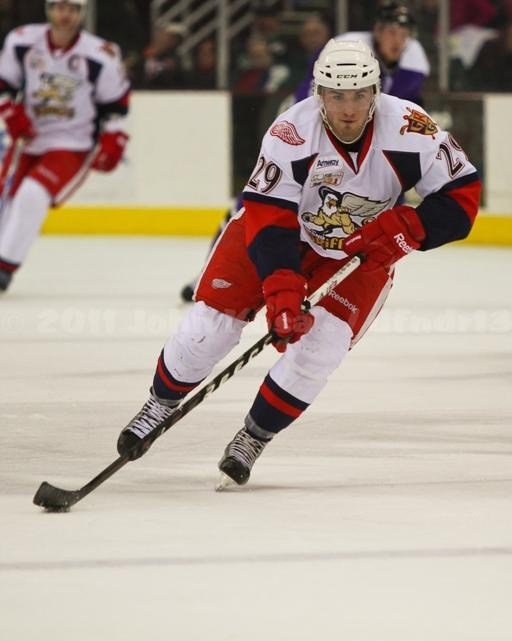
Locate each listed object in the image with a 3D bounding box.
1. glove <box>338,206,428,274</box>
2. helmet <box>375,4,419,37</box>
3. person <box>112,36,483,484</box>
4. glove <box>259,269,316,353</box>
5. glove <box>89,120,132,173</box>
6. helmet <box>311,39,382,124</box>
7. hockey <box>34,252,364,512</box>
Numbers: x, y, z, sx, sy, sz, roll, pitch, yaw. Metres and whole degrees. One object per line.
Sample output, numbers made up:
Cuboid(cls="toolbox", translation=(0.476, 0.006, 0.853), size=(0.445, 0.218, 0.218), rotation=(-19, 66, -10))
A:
Cuboid(cls="glove", translation=(0.242, -0.192, 1.820), size=(0.240, 0.100, 0.328), rotation=(-3, 15, 18))
Cuboid(cls="helmet", translation=(0.658, -1.417, 3.614), size=(0.178, 0.179, 0.271), rotation=(11, 11, 7))
Cuboid(cls="person", translation=(0.110, -0.115, 1.847), size=(0.854, 1.035, 0.653), rotation=(13, 7, 6))
Cuboid(cls="glove", translation=(0.061, -0.030, 1.654), size=(0.134, 0.141, 0.080), rotation=(7, 15, 31))
Cuboid(cls="glove", translation=(-0.649, -0.734, 3.372), size=(0.155, 0.071, 0.254), rotation=(-17, -10, -14))
Cuboid(cls="helmet", translation=(0.204, -0.547, 1.758), size=(0.165, 0.147, 0.178), rotation=(-1, 6, 0))
Cuboid(cls="hockey", translation=(-0.167, 0.179, 2.144), size=(1.327, 0.094, 0.182), rotation=(-28, 2, -9))
